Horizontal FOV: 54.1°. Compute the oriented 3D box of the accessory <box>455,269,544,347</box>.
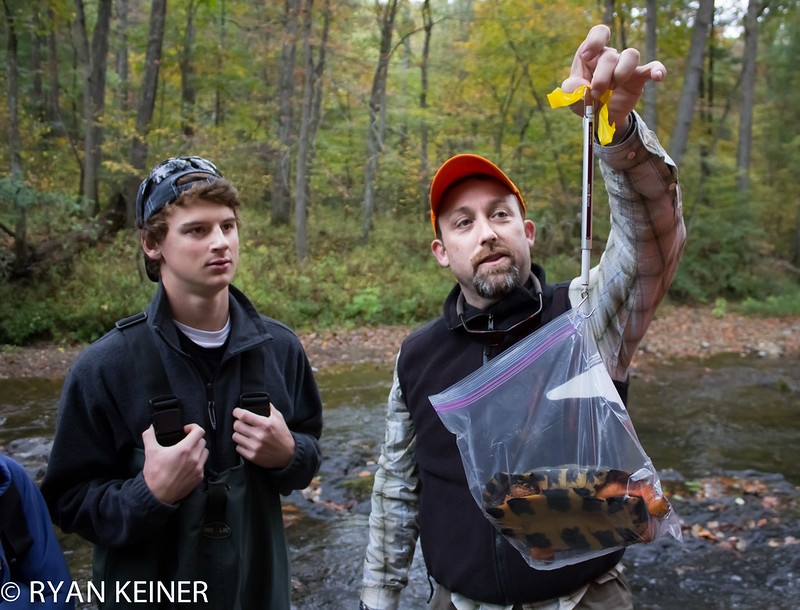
[{"bbox_3d":[0.696,-0.039,5.490,0.626,0.540,0.472,-7,12,-41],"label":"accessory"}]

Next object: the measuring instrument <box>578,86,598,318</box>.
[{"bbox_3d":[1.139,-0.701,4.885,0.120,1.143,0.165,5,9,24],"label":"measuring instrument"}]

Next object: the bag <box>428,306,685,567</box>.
[{"bbox_3d":[0.954,0.866,4.915,1.245,1.686,0.492,-28,-6,10],"label":"bag"}]

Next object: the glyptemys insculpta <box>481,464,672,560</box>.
[{"bbox_3d":[1.069,1.272,4.880,1.170,0.531,0.980,4,4,-24],"label":"glyptemys insculpta"}]
